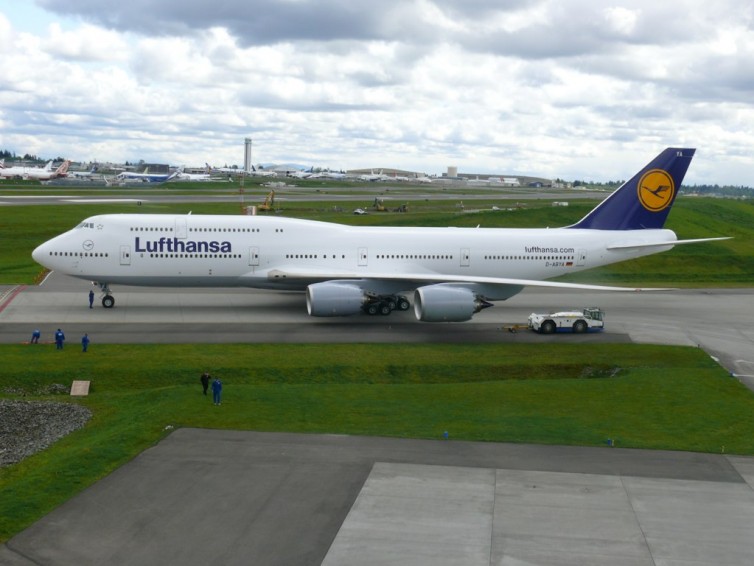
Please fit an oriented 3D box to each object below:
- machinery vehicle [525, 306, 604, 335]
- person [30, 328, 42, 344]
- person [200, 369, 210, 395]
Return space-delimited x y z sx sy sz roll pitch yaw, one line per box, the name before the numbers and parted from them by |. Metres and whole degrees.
machinery vehicle | 11.986 2.324 39.333 3.811 0.814 1.878 -1 4 -5
person | -18.241 2.824 33.301 0.868 0.268 0.801 4 53 -7
person | -7.414 4.300 26.957 0.292 0.942 0.891 -2 16 -12
